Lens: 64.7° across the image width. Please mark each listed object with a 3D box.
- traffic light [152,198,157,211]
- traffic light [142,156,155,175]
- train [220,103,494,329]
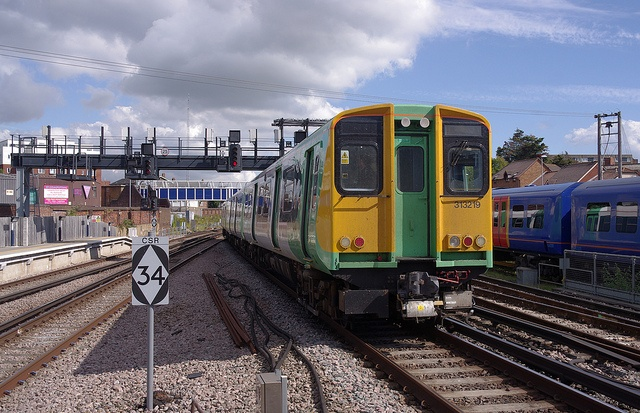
[{"bbox_3d":[-10.454,-0.174,31.823,0.330,0.770,1.398,-1,2,-23],"label":"traffic light"},{"bbox_3d":[-9.565,-2.331,28.164,0.834,0.861,1.502,2,22,-12],"label":"traffic light"},{"bbox_3d":[0.564,0.227,12.838,3.093,5.116,6.634,-2,2,-38],"label":"train"}]
